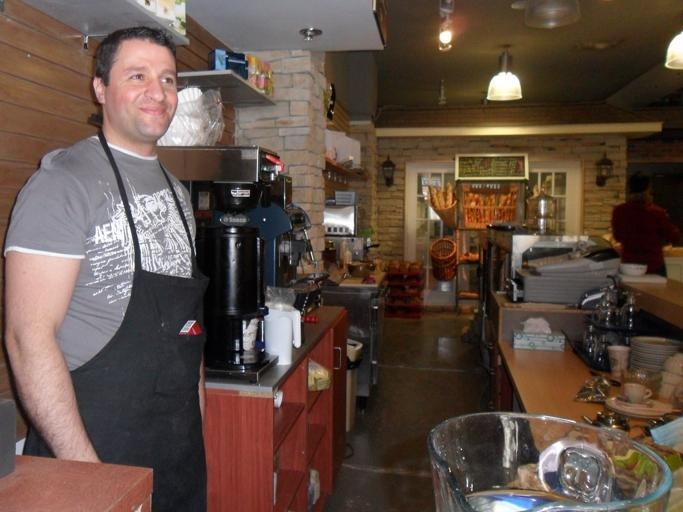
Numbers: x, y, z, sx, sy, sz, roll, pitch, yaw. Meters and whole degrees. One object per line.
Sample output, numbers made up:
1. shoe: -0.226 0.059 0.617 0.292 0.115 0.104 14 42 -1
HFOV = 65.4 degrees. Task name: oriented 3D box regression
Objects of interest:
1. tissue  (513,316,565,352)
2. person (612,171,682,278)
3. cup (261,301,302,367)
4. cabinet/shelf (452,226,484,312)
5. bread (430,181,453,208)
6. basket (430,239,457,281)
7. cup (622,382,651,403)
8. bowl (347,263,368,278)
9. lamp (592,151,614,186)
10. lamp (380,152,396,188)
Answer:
1. tissue : 1.257 0.496 3.407 0.232 0.149 0.238 0 -1 10
2. person: 3.003 -0.302 5.265 0.586 1.021 0.418 3 7 24
3. cup: -0.276 0.361 2.526 0.174 0.245 0.278 -1 7 -5
4. cabinet/shelf: 1.916 0.252 8.018 0.459 1.285 1.733 2 7 15
5. bread: 1.528 -0.945 8.052 0.341 0.374 0.129 4 16 14
6. basket: 1.591 0.062 8.307 0.431 0.632 0.643 1 7 9
7. cup: 1.315 0.600 2.369 0.119 0.082 0.095 2 -6 14
8. bowl: 0.170 0.154 5.346 0.158 0.102 0.162 1 -5 0
9. lamp: 3.999 -1.314 8.080 0.253 0.515 0.161 2 7 18
10. lamp: 0.743 -1.357 8.493 0.234 0.515 0.309 1 6 6
